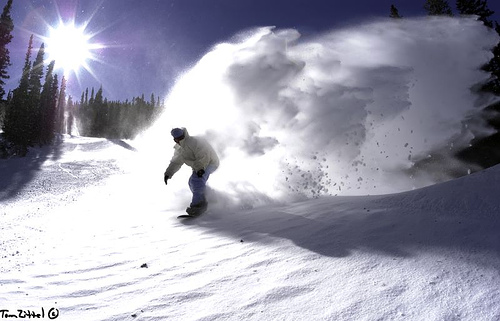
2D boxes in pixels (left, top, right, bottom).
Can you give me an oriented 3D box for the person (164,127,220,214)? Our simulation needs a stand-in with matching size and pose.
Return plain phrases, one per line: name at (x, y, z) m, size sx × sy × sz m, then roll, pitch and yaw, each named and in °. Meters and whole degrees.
person at (-1.672, 0.332, 12.282) m, size 1.257 × 1.179 × 2.235 m, roll 15°, pitch 40°, yaw -26°
